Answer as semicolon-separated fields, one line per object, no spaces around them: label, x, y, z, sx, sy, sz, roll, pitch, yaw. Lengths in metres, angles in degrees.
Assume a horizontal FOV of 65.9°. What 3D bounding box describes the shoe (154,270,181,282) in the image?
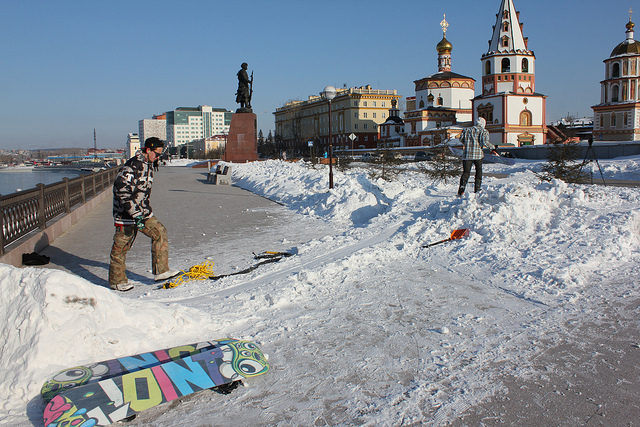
shoe;-2.652;1.092;8.647;0.440;0.199;0.151;-14;19;-28

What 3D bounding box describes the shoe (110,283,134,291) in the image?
shoe;-3.239;1.215;8.162;0.359;0.164;0.140;-4;6;-6

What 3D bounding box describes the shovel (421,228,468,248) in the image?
shovel;2.462;0.439;9.561;1.176;0.213;0.323;-16;27;-32
